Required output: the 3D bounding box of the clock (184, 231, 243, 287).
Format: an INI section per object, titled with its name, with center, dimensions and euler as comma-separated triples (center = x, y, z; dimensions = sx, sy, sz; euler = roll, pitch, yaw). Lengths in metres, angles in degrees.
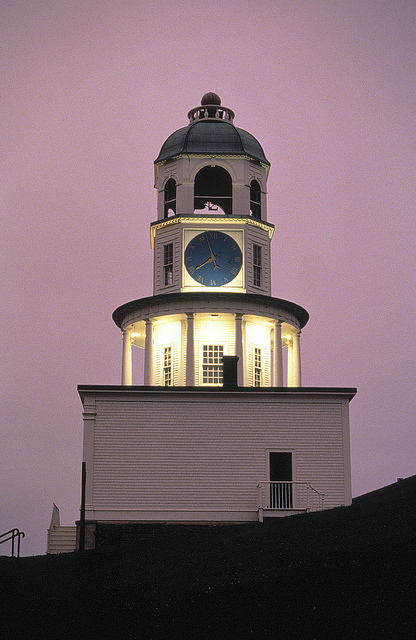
[clock]
center = 0.207, -2.223, 40.565
dimensions = 1.866, 2.270, 0.245
euler = 1, -25, -4
